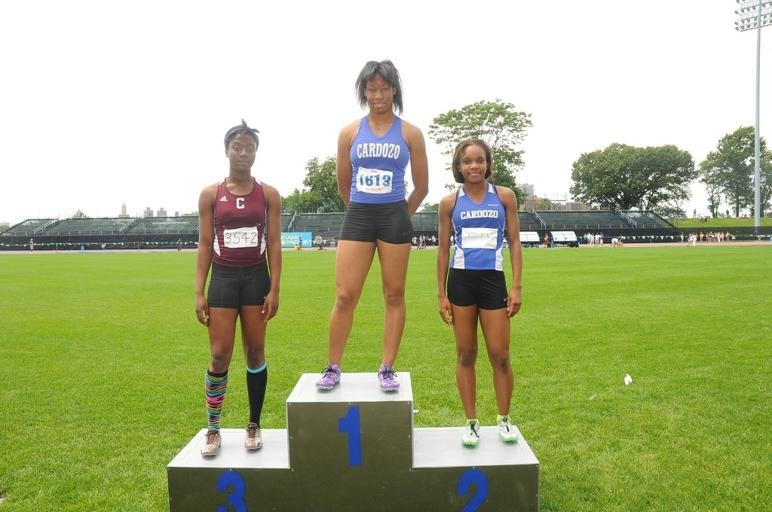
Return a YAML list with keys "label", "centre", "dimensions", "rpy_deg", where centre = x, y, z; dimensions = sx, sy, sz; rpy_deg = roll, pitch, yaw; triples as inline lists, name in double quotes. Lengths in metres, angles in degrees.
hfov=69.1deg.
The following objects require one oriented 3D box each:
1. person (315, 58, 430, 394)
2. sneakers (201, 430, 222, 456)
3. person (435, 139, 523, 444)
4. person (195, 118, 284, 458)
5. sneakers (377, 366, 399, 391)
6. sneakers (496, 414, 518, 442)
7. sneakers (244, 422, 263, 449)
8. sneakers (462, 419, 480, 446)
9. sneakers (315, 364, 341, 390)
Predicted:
- label: "person"
  centre: [-0.117, -0.451, 6.725]
  dimensions: [1.293, 3.863, 1.047]
  rpy_deg: [-2, 5, -4]
- label: "sneakers"
  centre: [-1.984, 2.137, 6.344]
  dimensions: [0.119, 0.145, 0.355]
  rpy_deg: [1, 9, -8]
- label: "person"
  centre: [1.098, 0.348, 6.710]
  dimensions: [0.986, 3.543, 0.933]
  rpy_deg: [0, 5, 11]
- label: "person"
  centre: [-1.718, 0.311, 6.616]
  dimensions: [1.017, 3.837, 0.838]
  rpy_deg: [-3, 5, -16]
- label: "sneakers"
  centre: [0.031, 1.420, 6.481]
  dimensions: [0.247, 0.215, 0.451]
  rpy_deg: [-1, 6, 0]
- label: "sneakers"
  centre: [1.397, 2.009, 6.477]
  dimensions: [0.246, 0.276, 0.224]
  rpy_deg: [1, 6, 20]
- label: "sneakers"
  centre: [-1.524, 2.085, 6.421]
  dimensions: [0.194, 0.278, 0.217]
  rpy_deg: [-2, 5, -7]
- label: "sneakers"
  centre: [0.973, 2.033, 6.446]
  dimensions: [0.201, 0.277, 0.286]
  rpy_deg: [-1, 5, 8]
- label: "sneakers"
  centre: [-0.675, 1.427, 6.430]
  dimensions: [0.144, 0.166, 0.379]
  rpy_deg: [0, -5, 10]
